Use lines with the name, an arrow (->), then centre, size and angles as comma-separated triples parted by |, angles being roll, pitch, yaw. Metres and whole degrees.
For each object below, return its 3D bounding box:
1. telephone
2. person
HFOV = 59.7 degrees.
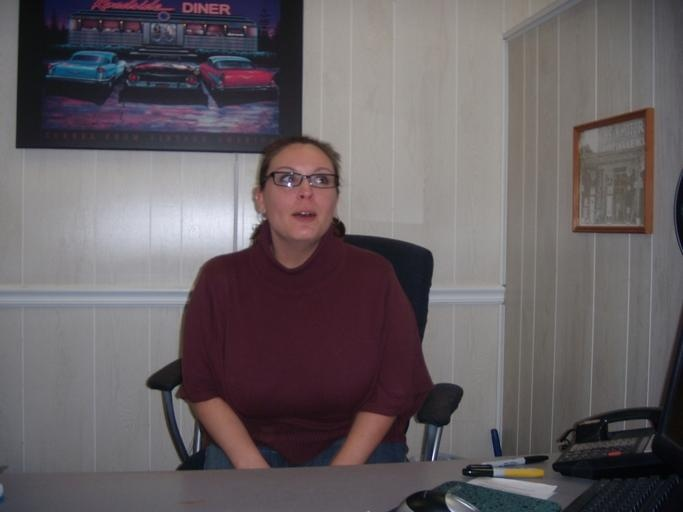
telephone -> 0.625, 0.408, 1.439 | 0.206, 0.111, 0.160 | -27, -22, 33
person -> -0.111, 0.128, 1.791 | 0.751, 0.994, 0.356 | 0, 4, 9
